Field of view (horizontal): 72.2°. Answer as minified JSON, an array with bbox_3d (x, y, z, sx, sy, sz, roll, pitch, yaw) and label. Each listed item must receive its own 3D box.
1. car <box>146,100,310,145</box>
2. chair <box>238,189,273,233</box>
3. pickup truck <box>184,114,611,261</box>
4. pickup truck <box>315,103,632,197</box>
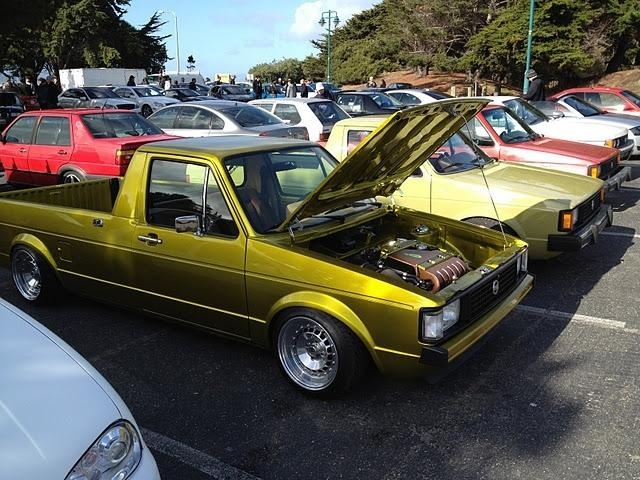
[{"bbox_3d":[-2.445,-3.169,11.859,5.350,1.298,1.947,9,22,19],"label":"car"},{"bbox_3d":[-0.562,-0.268,3.845,0.260,0.430,0.112,-27,-9,-45],"label":"chair"},{"bbox_3d":[1.799,-1.080,7.109,4.822,1.480,2.721,16,26,28],"label":"pickup truck"},{"bbox_3d":[3.850,-1.662,7.740,4.413,1.167,2.097,8,26,22],"label":"pickup truck"}]
